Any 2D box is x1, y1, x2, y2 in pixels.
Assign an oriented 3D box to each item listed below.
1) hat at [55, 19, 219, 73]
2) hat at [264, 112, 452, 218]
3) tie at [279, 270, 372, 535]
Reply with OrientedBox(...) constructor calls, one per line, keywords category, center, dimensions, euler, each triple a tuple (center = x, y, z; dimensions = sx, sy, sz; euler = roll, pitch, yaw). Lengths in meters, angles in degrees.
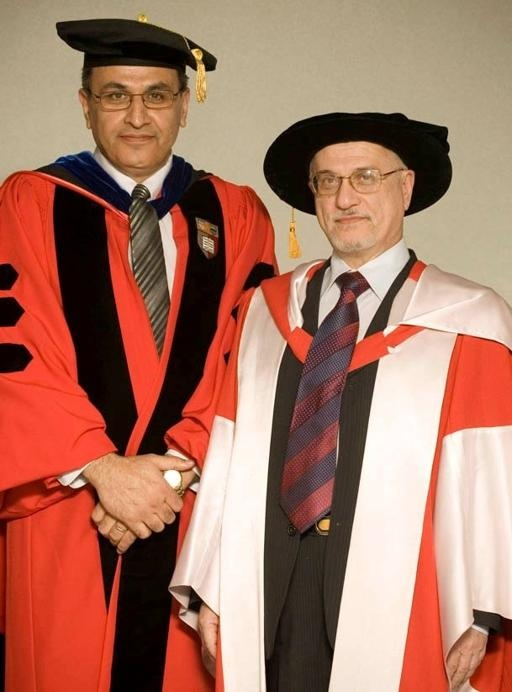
OrientedBox(category="hat", center=(-0.449, -0.945, 2.463), dimensions=(0.495, 0.095, 0.423), euler=(-2, 19, -17))
OrientedBox(category="hat", center=(0.378, -0.532, 2.177), dimensions=(0.469, 0.098, 0.437), euler=(16, -24, -34))
OrientedBox(category="tie", center=(0.169, 0.132, 1.926), dimensions=(0.167, 0.598, 0.072), euler=(7, -17, 35))
